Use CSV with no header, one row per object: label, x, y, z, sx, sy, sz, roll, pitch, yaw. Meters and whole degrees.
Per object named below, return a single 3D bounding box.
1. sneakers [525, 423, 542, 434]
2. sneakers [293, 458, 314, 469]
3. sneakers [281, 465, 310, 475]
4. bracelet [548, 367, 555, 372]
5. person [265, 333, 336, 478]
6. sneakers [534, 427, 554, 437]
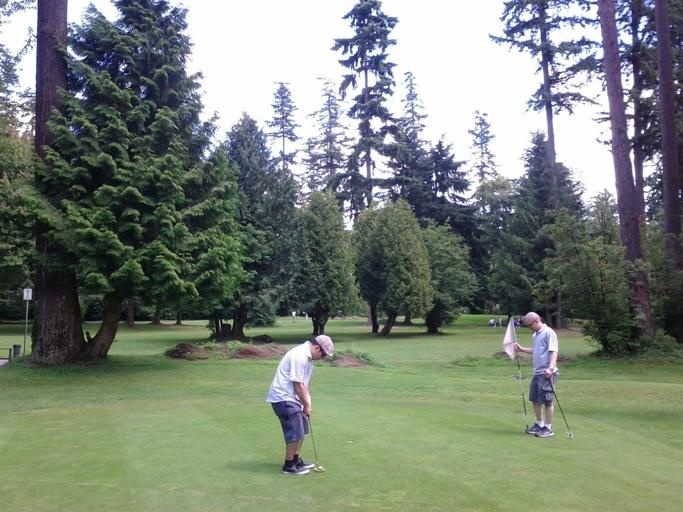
sneakers,4.141,3.780,13.705,0.147,0.189,0.429,13,-16,-25
sneakers,-0.698,3.682,11.123,0.151,0.190,0.453,-4,-9,45
sneakers,-0.819,3.755,11.008,0.446,0.177,0.175,2,-7,-1
bracelet,4.522,2.432,13.463,0.116,0.076,0.110,-3,-10,15
person,-0.712,2.649,11.337,1.184,2.407,0.795,-1,-6,8
sneakers,4.339,3.784,13.434,0.163,0.189,0.416,-14,-20,41
